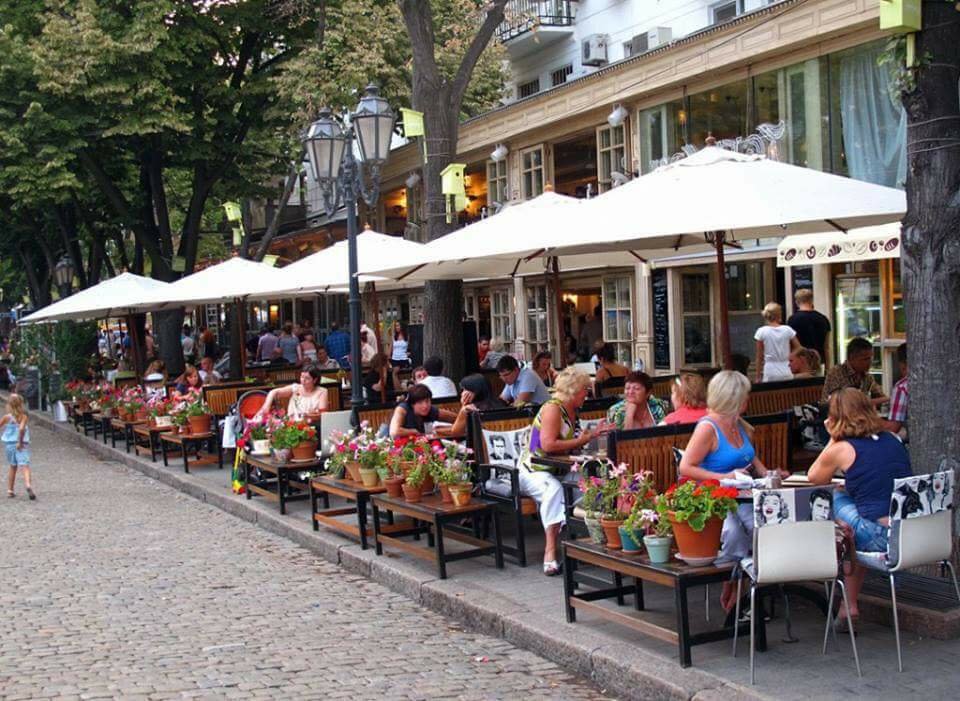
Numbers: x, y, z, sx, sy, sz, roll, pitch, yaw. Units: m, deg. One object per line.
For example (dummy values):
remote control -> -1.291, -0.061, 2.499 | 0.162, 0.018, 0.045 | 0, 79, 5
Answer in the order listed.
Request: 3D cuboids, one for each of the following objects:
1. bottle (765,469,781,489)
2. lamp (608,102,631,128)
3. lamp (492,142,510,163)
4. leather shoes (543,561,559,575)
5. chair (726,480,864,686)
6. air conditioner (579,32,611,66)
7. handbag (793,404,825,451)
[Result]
bottle -> 2.335, 1.015, 9.162 | 0.137, 0.153, 0.110 | 1, 0, 28
lamp -> 2.879, -4.996, 24.266 | 0.429, 0.406, 0.372 | 3, 0, 34
lamp -> 0.453, -4.988, 28.730 | 0.418, 0.421, 0.439 | -2, -7, 21
leather shoes -> 0.700, 2.154, 11.453 | 0.130, 0.100, 0.344 | -1, 1, 2
chair -> 2.491, 1.760, 9.220 | 1.003, 1.500, 0.982 | -3, 6, 8
air conditioner -> 3.148, -8.299, 31.847 | 0.504, 0.835, 0.936 | -6, 6, -17
handbag -> 3.633, 0.867, 12.798 | 0.333, 0.444, 0.440 | 0, -4, -13
